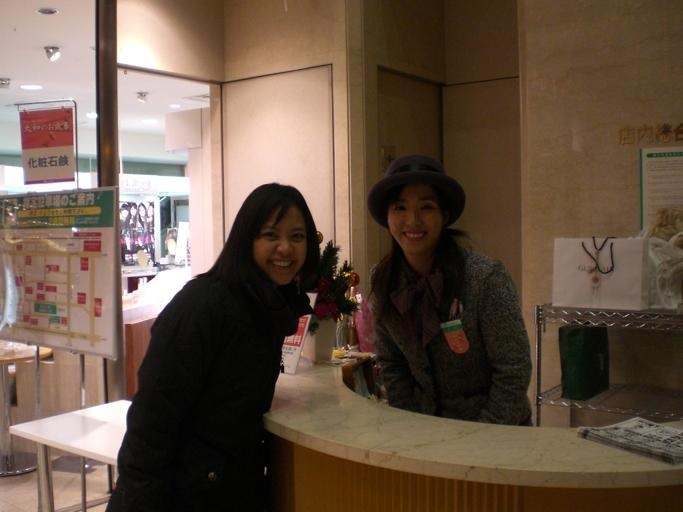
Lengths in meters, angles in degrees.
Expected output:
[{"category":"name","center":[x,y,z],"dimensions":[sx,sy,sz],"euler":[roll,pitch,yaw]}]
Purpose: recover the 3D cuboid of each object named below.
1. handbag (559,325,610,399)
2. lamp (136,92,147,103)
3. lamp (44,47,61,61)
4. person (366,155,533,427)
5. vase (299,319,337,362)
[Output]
[{"category":"handbag","center":[1.474,0.630,3.433],"dimensions":[0.161,0.444,0.454],"euler":[-5,-5,36]},{"category":"lamp","center":[-2.311,-1.869,6.449],"dimensions":[0.108,0.087,0.111],"euler":[-6,-8,37]},{"category":"lamp","center":[-1.988,-1.397,3.833],"dimensions":[0.080,0.093,0.100],"euler":[8,18,40]},{"category":"person","center":[0.425,0.146,2.291],"dimensions":[0.699,1.124,0.304],"euler":[5,14,39]},{"category":"vase","center":[-0.106,0.396,2.707],"dimensions":[0.202,0.264,0.178],"euler":[2,-5,-23]}]
